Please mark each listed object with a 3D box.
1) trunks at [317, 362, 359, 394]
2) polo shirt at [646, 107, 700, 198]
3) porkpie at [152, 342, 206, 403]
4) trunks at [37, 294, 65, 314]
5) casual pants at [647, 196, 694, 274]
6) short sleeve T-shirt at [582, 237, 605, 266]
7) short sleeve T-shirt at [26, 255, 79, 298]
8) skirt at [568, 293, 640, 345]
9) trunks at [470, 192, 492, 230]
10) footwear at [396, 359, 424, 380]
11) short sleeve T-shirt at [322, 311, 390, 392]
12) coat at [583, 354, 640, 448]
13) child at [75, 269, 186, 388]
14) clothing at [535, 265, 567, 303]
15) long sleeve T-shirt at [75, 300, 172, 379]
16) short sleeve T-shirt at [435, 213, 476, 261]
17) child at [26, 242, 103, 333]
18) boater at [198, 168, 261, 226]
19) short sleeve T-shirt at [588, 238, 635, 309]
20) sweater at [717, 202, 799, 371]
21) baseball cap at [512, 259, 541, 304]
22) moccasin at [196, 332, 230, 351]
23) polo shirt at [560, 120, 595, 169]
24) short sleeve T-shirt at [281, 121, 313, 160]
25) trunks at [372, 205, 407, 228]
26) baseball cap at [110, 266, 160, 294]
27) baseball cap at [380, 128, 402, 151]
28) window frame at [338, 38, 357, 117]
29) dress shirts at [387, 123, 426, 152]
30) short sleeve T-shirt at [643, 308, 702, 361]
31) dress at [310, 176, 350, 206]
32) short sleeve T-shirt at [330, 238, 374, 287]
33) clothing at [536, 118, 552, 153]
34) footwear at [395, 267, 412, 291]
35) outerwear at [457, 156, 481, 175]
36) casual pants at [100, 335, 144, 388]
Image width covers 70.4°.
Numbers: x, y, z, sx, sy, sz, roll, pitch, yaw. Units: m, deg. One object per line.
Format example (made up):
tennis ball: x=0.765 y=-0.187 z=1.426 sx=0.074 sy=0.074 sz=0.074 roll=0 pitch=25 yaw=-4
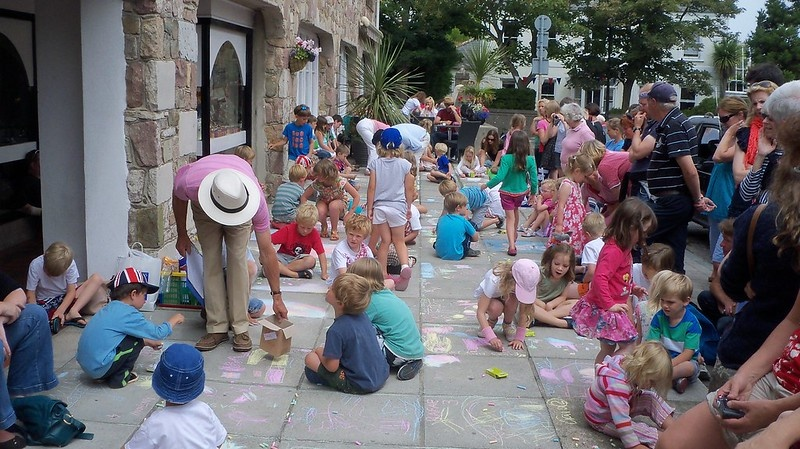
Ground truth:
trunks: x=-0.576 y=1.404 z=5.232 sx=0.384 sy=0.218 sz=0.124 roll=19 pitch=11 yaw=3
polo shirt: x=3.195 y=-0.891 z=6.671 sx=0.541 sy=1.024 sz=1.037 roll=1 pitch=7 yaw=19
porkpie: x=-1.684 y=1.091 z=4.382 sx=0.414 sy=0.254 sz=0.614 roll=13 pitch=15 yaw=-14
trunks: x=-3.610 y=0.827 z=5.901 sx=0.236 sy=0.229 sz=0.093 roll=17 pitch=-9 yaw=-20
casual pants: x=3.211 y=0.150 z=6.732 sx=0.478 sy=1.113 sz=0.356 roll=-12 pitch=28 yaw=-10
short sleeve T-shirt: x=2.247 y=0.321 z=6.631 sx=0.372 sy=0.260 sz=0.206 roll=0 pitch=4 yaw=-39
short sleeve T-shirt: x=-3.645 y=0.523 z=5.984 sx=0.491 sy=0.412 sz=0.279 roll=-2 pitch=21 yaw=-14
skirt: x=1.989 y=0.891 z=5.627 sx=0.503 sy=0.209 sz=0.496 roll=15 pitch=12 yaw=27
trunks: x=1.357 y=-0.238 z=9.671 sx=0.315 sy=0.722 sz=0.674 roll=8 pitch=16 yaw=3
footwear: x=0.085 y=1.385 z=5.459 sx=0.262 sy=0.120 sz=0.112 roll=-20 pitch=6 yaw=-26
short sleeve T-shirt: x=-0.400 y=1.167 z=5.131 sx=0.521 sy=0.563 sz=0.323 roll=-27 pitch=30 yaw=-24
coat: x=1.770 y=1.474 z=4.705 sx=0.262 sy=0.645 sz=0.454 roll=0 pitch=13 yaw=-19
child: x=-2.541 y=0.946 z=5.325 sx=0.754 sy=0.982 sz=0.867 roll=5 pitch=3 yaw=35
clothing: x=1.669 y=0.659 z=6.356 sx=0.331 sy=0.394 sz=0.227 roll=18 pitch=8 yaw=-9
long sleeve T-shirt: x=-2.539 y=1.010 z=5.318 sx=0.802 sy=0.573 sz=0.580 roll=-1 pitch=10 yaw=-37
short sleeve T-shirt: x=0.775 y=0.102 z=8.449 sx=0.675 sy=0.693 sz=0.635 roll=10 pitch=22 yaw=30
child: x=-3.435 y=0.676 z=5.862 sx=0.515 sy=0.669 sz=0.612 roll=19 pitch=34 yaw=31
boater: x=-1.621 y=-0.237 z=5.367 sx=0.540 sy=0.561 sz=0.190 roll=-39 pitch=-5 yaw=-23
short sleeve T-shirt: x=2.131 y=0.518 z=5.728 sx=0.351 sy=0.535 sz=0.627 roll=7 pitch=17 yaw=41
sweater: x=2.431 y=0.436 z=3.904 sx=0.215 sy=1.183 sz=0.424 roll=-2 pitch=14 yaw=-24
baseball cap: x=1.266 y=0.578 z=5.747 sx=0.294 sy=0.428 sz=0.195 roll=2 pitch=-9 yaw=-8
moccasin: x=-1.888 y=1.178 z=5.757 sx=0.126 sy=0.142 sz=0.336 roll=6 pitch=3 yaw=31
polo shirt: x=3.136 y=-1.382 z=10.198 sx=0.559 sy=0.967 sz=0.910 roll=-1 pitch=11 yaw=-11
short sleeve T-shirt: x=-2.017 y=-1.641 z=11.016 sx=0.812 sy=0.991 sz=0.365 roll=0 pitch=12 yaw=-14
trunks: x=-0.148 y=-0.112 z=7.331 sx=0.469 sy=0.327 sz=0.269 roll=8 pitch=22 yaw=21
baseball cap: x=-2.463 y=0.518 z=5.263 sx=0.343 sy=0.180 sz=0.234 roll=-2 pitch=2 yaw=-30
baseball cap: x=-0.129 y=-1.108 z=7.323 sx=0.222 sy=0.291 sz=0.171 roll=2 pitch=-5 yaw=4
window frame: x=-1.714 y=-4.418 z=17.835 sx=0.142 sy=2.477 sz=1.072 roll=5 pitch=16 yaw=-21
dress shirts: x=-0.001 y=-1.649 z=10.858 sx=0.627 sy=0.457 sz=0.902 roll=-12 pitch=12 yaw=-5
short sleeve T-shirt: x=2.500 y=1.076 z=5.251 sx=0.547 sy=0.530 sz=0.484 roll=-3 pitch=3 yaw=-40
dress: x=-1.093 y=-0.524 z=8.817 sx=0.320 sy=0.383 sz=0.581 roll=-15 pitch=-6 yaw=35
short sleeve T-shirt: x=-0.515 y=0.470 z=6.786 sx=0.459 sy=0.546 sz=0.304 roll=-7 pitch=29 yaw=0
clothing: x=3.161 y=-1.992 z=12.508 sx=0.466 sy=0.820 sz=0.865 roll=2 pitch=10 yaw=8
footwear: x=0.037 y=0.679 z=7.028 sx=0.134 sy=0.362 sz=0.243 roll=12 pitch=34 yaw=0
outerwear: x=1.622 y=-1.406 z=13.538 sx=0.383 sy=0.560 sz=0.557 roll=-1 pitch=19 yaw=0
casual pants: x=-2.570 y=1.233 z=5.260 sx=0.316 sy=0.459 sz=0.473 roll=-6 pitch=4 yaw=-17
